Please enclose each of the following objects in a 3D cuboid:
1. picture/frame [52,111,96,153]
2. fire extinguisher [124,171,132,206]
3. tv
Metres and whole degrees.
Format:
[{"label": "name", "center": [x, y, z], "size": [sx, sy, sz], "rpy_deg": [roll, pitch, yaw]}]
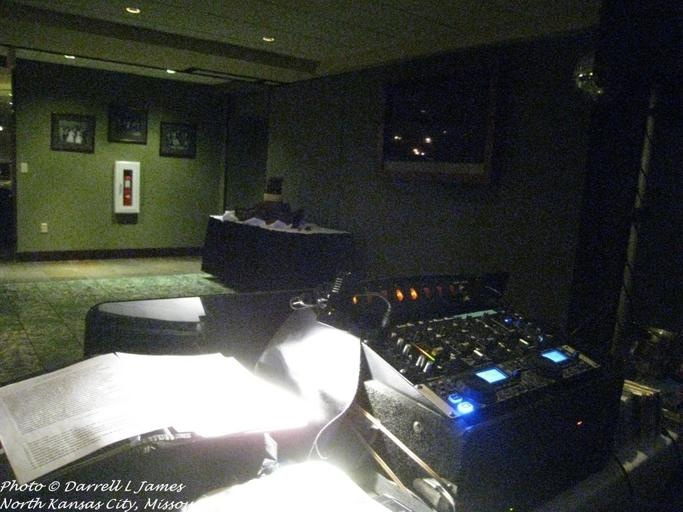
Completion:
[{"label": "picture/frame", "center": [-3.163, -1.455, 5.746], "size": [0.565, 0.527, 0.045], "rpy_deg": [0, 1, -39]}, {"label": "fire extinguisher", "center": [-2.650, -0.837, 6.086], "size": [0.109, 0.437, 0.058], "rpy_deg": [0, 14, -25]}, {"label": "tv", "center": [0.645, -0.898, 3.415], "size": [0.833, 0.482, 0.068], "rpy_deg": [-4, 12, -16]}]
